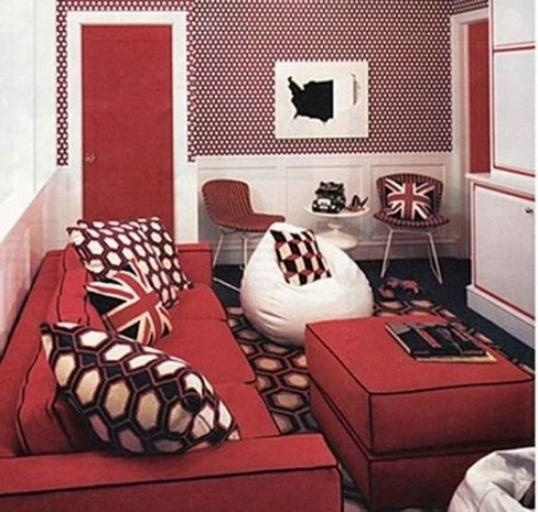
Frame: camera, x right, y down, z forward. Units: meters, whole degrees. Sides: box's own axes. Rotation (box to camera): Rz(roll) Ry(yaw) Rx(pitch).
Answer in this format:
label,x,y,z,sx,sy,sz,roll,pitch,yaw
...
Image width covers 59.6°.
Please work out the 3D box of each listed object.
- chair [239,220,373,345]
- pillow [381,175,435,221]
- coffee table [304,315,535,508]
label,x,y,z,sx,sy,sz,roll,pitch,yaw
chair,0.186,0.157,2.844,0.718,0.479,0.668,-6,18,-44
pillow,1.309,-0.530,4.442,0.481,0.357,0.263,8,9,13
coffee table,0.516,0.495,1.673,0.477,0.369,0.698,-1,7,-6
